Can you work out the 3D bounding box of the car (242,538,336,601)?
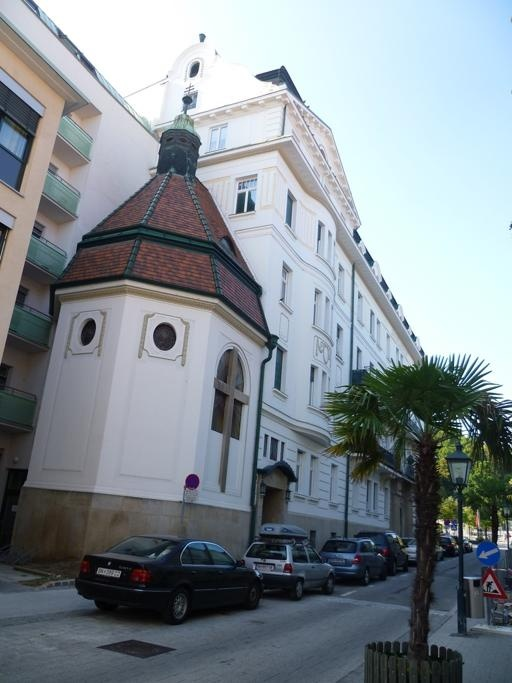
[{"bbox_3d":[1.113,6.958,14.237,1.671,1.468,3.429,-9,-20,30],"label":"car"}]
